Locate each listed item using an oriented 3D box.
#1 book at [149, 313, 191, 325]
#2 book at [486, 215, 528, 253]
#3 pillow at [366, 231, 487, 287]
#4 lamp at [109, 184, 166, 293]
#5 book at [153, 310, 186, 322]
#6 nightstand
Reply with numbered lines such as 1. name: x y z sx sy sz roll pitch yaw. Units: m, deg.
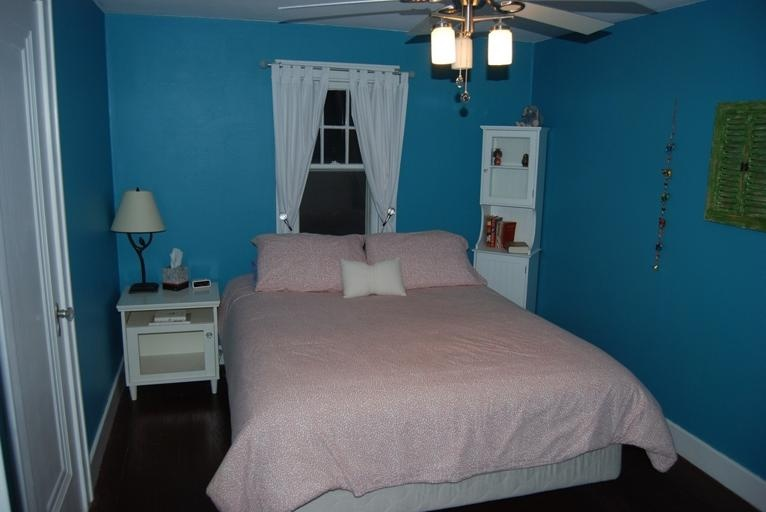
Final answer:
1. book: -1.762 0.512 4.788 0.156 0.036 0.158 11 13 41
2. book: 1.164 -0.203 5.627 0.344 0.499 0.376 -6 11 -32
3. pillow: 0.366 0.040 4.967 0.671 0.195 0.592 -2 26 -8
4. lamp: -2.083 -0.128 4.956 0.408 0.880 0.512 -6 9 -23
5. book: -1.768 0.499 4.804 0.146 0.033 0.134 -3 13 -27
6. nightstand: -1.758 0.597 5.108 1.104 1.204 0.813 -3 9 -16
